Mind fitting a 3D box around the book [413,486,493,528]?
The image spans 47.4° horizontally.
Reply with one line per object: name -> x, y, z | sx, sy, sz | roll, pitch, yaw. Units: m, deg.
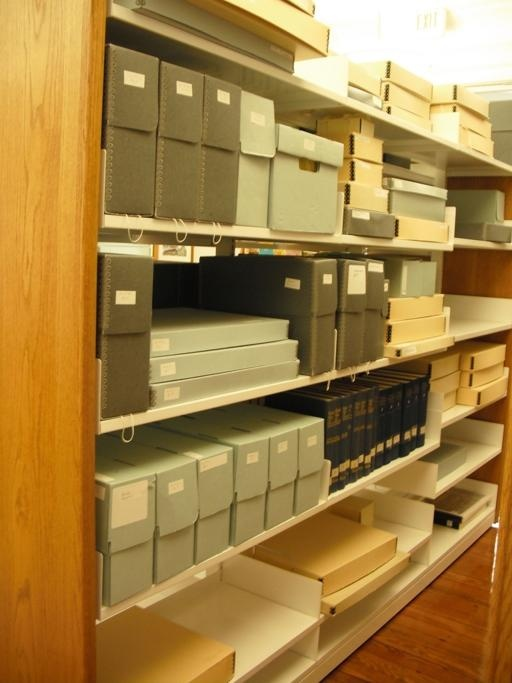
book -> 1.067, 0.868, 3.078 | 0.309, 0.067, 0.309 | -21, 13, -42
